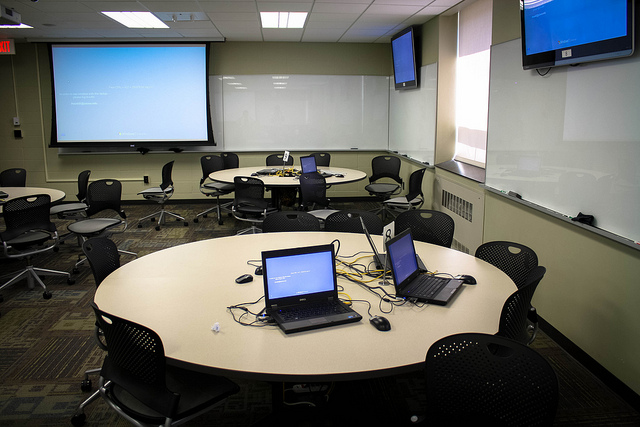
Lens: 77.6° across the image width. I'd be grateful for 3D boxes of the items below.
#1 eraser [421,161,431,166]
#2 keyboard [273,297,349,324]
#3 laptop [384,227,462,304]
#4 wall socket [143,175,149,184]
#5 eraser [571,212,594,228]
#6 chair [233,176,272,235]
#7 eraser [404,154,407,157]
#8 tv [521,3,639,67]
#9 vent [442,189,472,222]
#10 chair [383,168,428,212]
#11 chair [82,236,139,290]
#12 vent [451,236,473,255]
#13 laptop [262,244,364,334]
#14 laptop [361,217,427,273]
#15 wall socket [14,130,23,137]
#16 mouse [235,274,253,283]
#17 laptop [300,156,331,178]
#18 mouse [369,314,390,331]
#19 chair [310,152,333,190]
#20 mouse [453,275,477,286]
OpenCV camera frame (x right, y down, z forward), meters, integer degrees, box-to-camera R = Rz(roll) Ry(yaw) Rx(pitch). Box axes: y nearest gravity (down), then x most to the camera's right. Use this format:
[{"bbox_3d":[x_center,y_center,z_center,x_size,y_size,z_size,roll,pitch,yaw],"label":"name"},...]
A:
[{"bbox_3d":[1.934,-0.926,7.250,0.111,0.079,0.108,-1,7,-4],"label":"eraser"},{"bbox_3d":[-0.065,0.655,2.685,0.468,0.051,0.189,-5,14,-14],"label":"keyboard"},{"bbox_3d":[0.787,0.337,2.999,0.397,0.333,0.479,0,3,28],"label":"laptop"},{"bbox_3d":[-3.968,-0.787,9.062,0.106,0.202,0.039,-5,14,-10],"label":"wall socket"},{"bbox_3d":[2.376,0.051,3.579,0.052,0.065,0.155,-1,11,-1],"label":"eraser"},{"bbox_3d":[-1.079,-0.090,6.488,0.682,1.023,0.744,4,5,19],"label":"chair"},{"bbox_3d":[1.772,-1.214,8.207,0.062,0.059,0.034,6,17,26],"label":"eraser"},{"bbox_3d":[2.268,-1.549,3.417,0.081,0.639,0.897,-13,13,-28],"label":"tv"},{"bbox_3d":[2.100,-0.141,6.066,0.357,0.095,0.365,14,15,-24],"label":"vent"},{"bbox_3d":[1.465,-0.437,7.099,0.803,1.044,0.782,4,11,18],"label":"chair"},{"bbox_3d":[-1.916,0.392,3.514,0.411,0.512,0.377,4,14,22],"label":"chair"},{"bbox_3d":[1.916,0.425,5.322,0.193,0.236,0.353,0,3,2],"label":"vent"},{"bbox_3d":[-0.082,0.370,2.646,0.654,0.436,0.557,-4,12,-22],"label":"laptop"},{"bbox_3d":[0.595,0.230,3.341,0.433,0.349,0.513,1,13,20],"label":"laptop"},{"bbox_3d":[-6.733,-1.796,8.851,0.154,0.134,0.090,3,8,-7],"label":"wall socket"},{"bbox_3d":[-0.596,0.507,3.111,0.092,0.025,0.064,-6,12,-28],"label":"mouse"},{"bbox_3d":[-0.108,-0.837,6.822,0.453,0.280,0.441,17,19,35],"label":"laptop"},{"bbox_3d":[0.387,0.707,2.575,0.090,0.053,0.143,-10,15,-30],"label":"mouse"},{"bbox_3d":[0.073,-0.975,8.679,0.776,0.865,0.732,-1,8,1],"label":"chair"},{"bbox_3d":[1.129,0.516,3.081,0.119,0.038,0.072,4,7,40],"label":"mouse"}]
